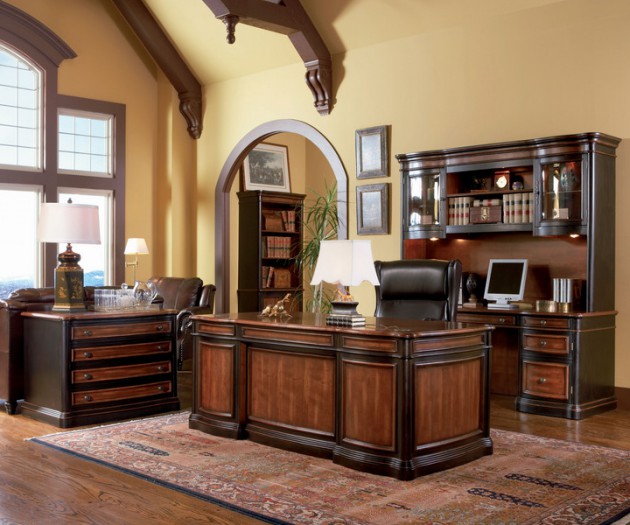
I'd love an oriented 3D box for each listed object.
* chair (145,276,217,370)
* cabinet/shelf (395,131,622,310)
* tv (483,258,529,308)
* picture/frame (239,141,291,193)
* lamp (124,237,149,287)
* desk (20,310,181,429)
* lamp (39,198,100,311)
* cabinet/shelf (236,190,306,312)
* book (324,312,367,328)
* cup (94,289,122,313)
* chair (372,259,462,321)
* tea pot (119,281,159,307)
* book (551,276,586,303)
[{"bbox_3d":[-1.939,0.770,6.981,1.067,1.082,0.976,1,5,0],"label":"chair"},{"bbox_3d":[1.842,-0.195,5.467,2.047,1.908,0.606,1,-1,38],"label":"cabinet/shelf"},{"bbox_3d":[1.956,0.216,5.364,0.486,0.593,0.200,2,-17,46],"label":"tv"},{"bbox_3d":[-0.838,-1.657,9.180,1.036,0.907,0.099,5,-7,-44],"label":"picture/frame"},{"bbox_3d":[-2.767,-0.044,8.154,0.374,0.723,0.694,2,-5,-18],"label":"lamp"},{"bbox_3d":[-1.913,0.917,4.803,0.778,0.894,1.196,-1,-4,32],"label":"desk"},{"bbox_3d":[-2.133,-0.068,4.558,0.464,0.968,0.589,3,-6,-32],"label":"lamp"},{"bbox_3d":[-0.741,-0.187,8.797,1.119,1.996,0.675,1,-5,-8],"label":"cabinet/shelf"},{"bbox_3d":[0.190,0.368,3.362,0.256,0.088,0.170,-1,-5,9],"label":"book"},{"bbox_3d":[-1.880,0.342,4.742,0.201,0.181,0.191,0,-2,0],"label":"cup"},{"bbox_3d":[0.911,0.217,4.505,0.503,0.681,0.598,0,-1,31],"label":"chair"},{"bbox_3d":[-1.680,0.299,4.983,0.253,0.215,0.314,2,-6,-16],"label":"tea pot"},{"bbox_3d":[2.354,0.267,4.972,0.203,0.225,0.270,2,-3,-38],"label":"book"}]
